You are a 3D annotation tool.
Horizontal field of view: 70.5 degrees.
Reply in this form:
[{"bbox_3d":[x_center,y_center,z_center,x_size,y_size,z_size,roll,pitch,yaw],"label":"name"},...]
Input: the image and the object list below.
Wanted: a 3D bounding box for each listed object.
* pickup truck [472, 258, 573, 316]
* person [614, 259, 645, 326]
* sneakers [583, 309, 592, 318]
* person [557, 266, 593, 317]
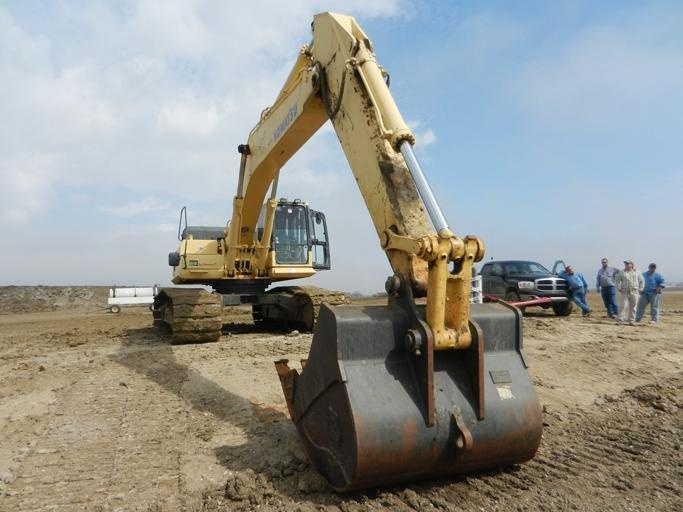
[{"bbox_3d":[5.778,1.042,16.013,1.776,1.996,4.102,0,-5,-9],"label":"pickup truck"},{"bbox_3d":[7.412,0.939,12.405,0.576,1.538,0.741,4,7,33],"label":"person"},{"bbox_3d":[7.282,1.707,14.296,0.253,0.208,0.478,1,-6,9],"label":"sneakers"},{"bbox_3d":[6.960,1.009,14.413,0.829,1.512,1.335,3,6,28],"label":"person"}]
